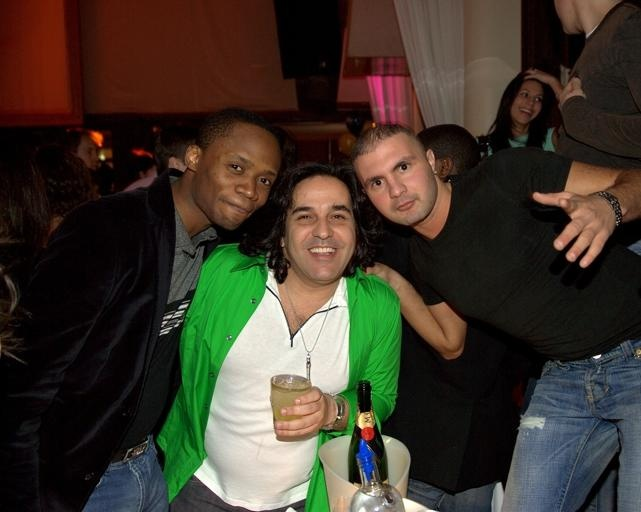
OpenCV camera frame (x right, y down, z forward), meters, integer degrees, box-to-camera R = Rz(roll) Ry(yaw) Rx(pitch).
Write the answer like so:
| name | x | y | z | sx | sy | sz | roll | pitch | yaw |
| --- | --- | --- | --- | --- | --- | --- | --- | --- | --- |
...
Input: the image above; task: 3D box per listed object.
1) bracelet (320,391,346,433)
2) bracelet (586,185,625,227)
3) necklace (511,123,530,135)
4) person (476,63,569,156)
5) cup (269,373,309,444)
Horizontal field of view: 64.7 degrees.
| name | x | y | z | sx | sy | sz | roll | pitch | yaw |
| --- | --- | --- | --- | --- | --- | --- | --- | --- | --- |
| bracelet | 0.057 | 0.640 | 2.054 | 0.126 | 0.144 | 0.052 | -3 | 0 | -34 |
| bracelet | 1.032 | -0.168 | 1.828 | 0.035 | 0.119 | 0.118 | -26 | -29 | 22 |
| necklace | 1.595 | -1.015 | 4.051 | 0.078 | 0.094 | 0.092 | -1 | 10 | 0 |
| person | 1.637 | -1.029 | 4.118 | 0.561 | 0.876 | 0.380 | 18 | -6 | 17 |
| cup | -0.119 | 0.554 | 1.828 | 0.150 | 0.168 | 0.154 | 5 | 5 | 0 |
